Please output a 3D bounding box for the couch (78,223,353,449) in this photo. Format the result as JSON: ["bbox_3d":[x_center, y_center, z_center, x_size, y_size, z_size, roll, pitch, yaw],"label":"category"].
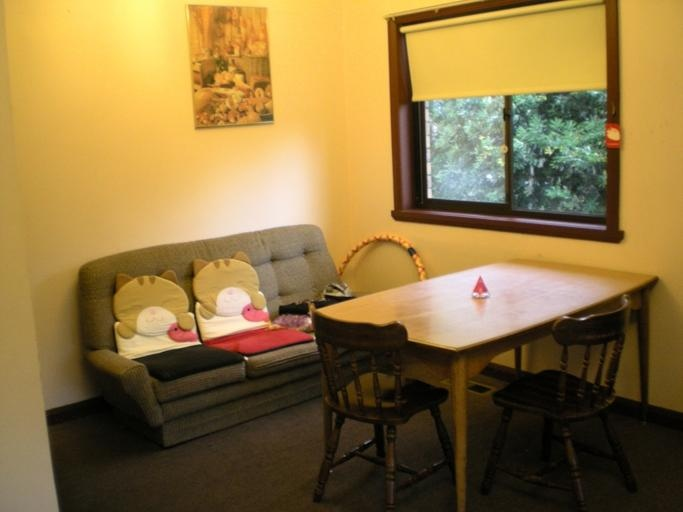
[{"bbox_3d":[-0.695,0.457,3.788,2.085,1.064,0.987,-11,16,-40],"label":"couch"}]
